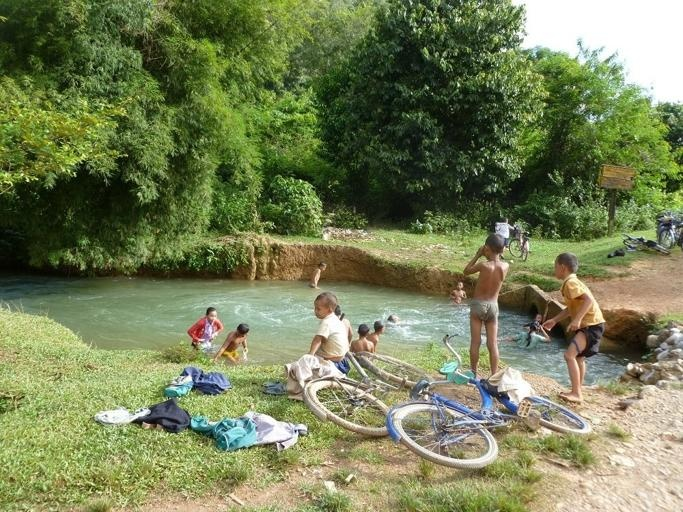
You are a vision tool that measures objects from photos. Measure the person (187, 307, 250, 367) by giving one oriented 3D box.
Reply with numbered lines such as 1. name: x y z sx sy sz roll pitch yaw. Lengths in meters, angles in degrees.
1. person: -2.897 1.835 14.219 1.289 1.098 1.681 -3 9 -36

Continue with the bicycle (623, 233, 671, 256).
1. bicycle: 10.961 -0.387 21.720 0.780 0.570 1.355 7 9 -36
